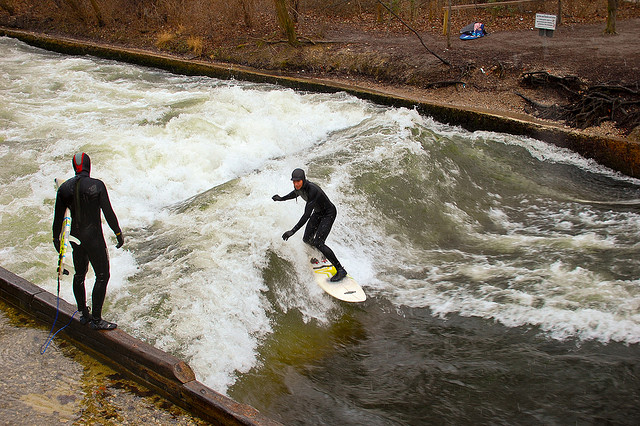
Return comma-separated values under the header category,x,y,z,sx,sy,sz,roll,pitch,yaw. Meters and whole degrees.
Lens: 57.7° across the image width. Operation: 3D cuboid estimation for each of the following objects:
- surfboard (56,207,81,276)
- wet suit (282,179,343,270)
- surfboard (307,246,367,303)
category,x,y,z,sx,sy,sz,roll,pitch,yaw
surfboard,-4.895,0.586,11.366,0.937,1.254,0.369,-3,-9,44
wet suit,-0.118,0.289,13.327,1.091,1.930,1.155,-12,34,5
surfboard,0.229,1.502,13.605,0.586,0.320,2.390,-25,35,-27
